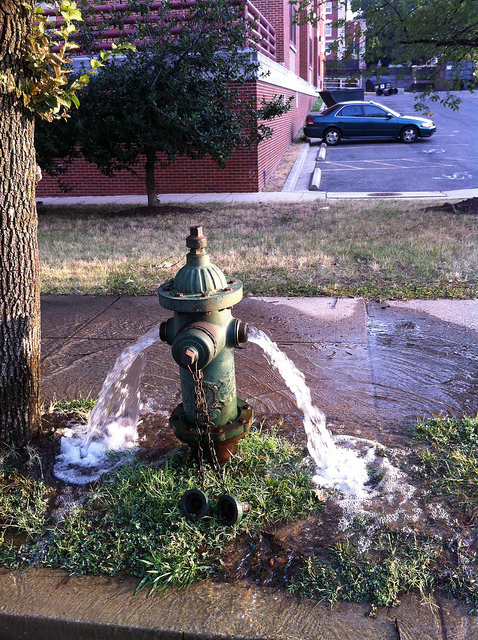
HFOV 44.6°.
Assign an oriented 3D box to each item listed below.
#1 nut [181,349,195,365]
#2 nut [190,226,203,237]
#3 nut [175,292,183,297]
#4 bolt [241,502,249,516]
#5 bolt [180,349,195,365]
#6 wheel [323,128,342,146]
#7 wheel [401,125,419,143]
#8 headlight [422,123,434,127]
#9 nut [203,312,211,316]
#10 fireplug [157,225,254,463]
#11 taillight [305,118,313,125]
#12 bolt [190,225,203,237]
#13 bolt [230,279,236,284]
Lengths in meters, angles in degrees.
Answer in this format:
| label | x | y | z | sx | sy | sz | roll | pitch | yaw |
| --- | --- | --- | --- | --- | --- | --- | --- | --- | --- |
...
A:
| label | x | y | z | sx | sy | sz | roll | pitch | yaw |
| --- | --- | --- | --- | --- | --- | --- | --- | --- | --- |
| nut | -0.241 | 0.176 | 2.735 | 0.066 | 0.057 | 0.059 | 4 | 8 | 2 |
| nut | -0.221 | -0.456 | 3.003 | 0.063 | 0.042 | 0.059 | 2 | 15 | 9 |
| nut | -0.306 | -0.129 | 2.942 | 0.027 | 0.011 | 0.034 | 2 | 9 | 7 |
| bolt | 0.028 | 0.921 | 2.827 | 0.044 | 0.044 | 0.054 | 1 | 4 | -22 |
| bolt | -0.242 | 0.175 | 2.736 | 0.069 | 0.060 | 0.067 | 9 | 7 | 2 |
| wheel | 3.836 | -7.574 | 24.097 | 0.732 | 0.686 | 0.428 | 2 | 18 | 4 |
| wheel | 6.818 | -7.473 | 23.296 | 0.685 | 0.603 | 0.229 | -1 | 24 | 10 |
| headlight | 7.454 | -7.722 | 23.054 | 0.438 | 0.149 | 0.175 | -9 | 19 | -28 |
| nut | -0.164 | -0.030 | 2.945 | 0.038 | 0.021 | 0.018 | -4 | 18 | -13 |
| fireplug | -0.177 | 0.186 | 3.014 | 0.510 | 1.297 | 0.735 | 0 | 18 | -2 |
| taillight | 2.872 | -8.186 | 23.911 | 0.280 | 0.342 | 0.139 | -4 | -2 | 12 |
| bolt | -0.223 | -0.460 | 3.010 | 0.087 | 0.057 | 0.078 | 0 | 13 | -2 |
| bolt | -0.033 | -0.212 | 3.175 | 0.026 | 0.006 | 0.024 | 17 | 30 | 35 |
